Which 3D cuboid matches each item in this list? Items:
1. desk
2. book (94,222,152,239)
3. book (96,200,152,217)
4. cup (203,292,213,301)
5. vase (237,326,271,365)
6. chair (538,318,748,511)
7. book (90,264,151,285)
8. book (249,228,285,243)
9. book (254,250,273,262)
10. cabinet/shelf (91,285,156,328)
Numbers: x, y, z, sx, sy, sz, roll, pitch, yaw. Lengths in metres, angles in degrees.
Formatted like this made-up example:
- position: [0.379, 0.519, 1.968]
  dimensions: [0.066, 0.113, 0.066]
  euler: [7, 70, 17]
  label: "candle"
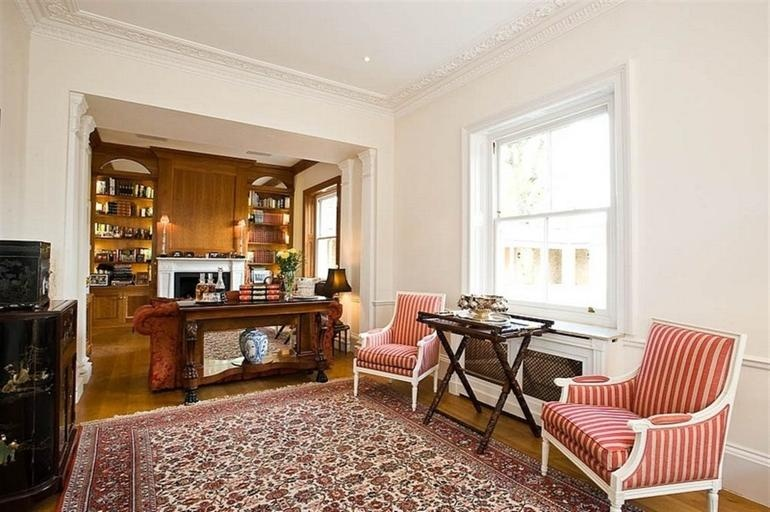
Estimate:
- position: [-1.662, 1.089, 6.408]
  dimensions: [1.938, 1.074, 0.807]
  euler: [1, 2, -38]
  label: "desk"
- position: [-5.038, -0.485, 9.794]
  dimensions: [0.992, 0.315, 0.312]
  euler: [-1, 0, -29]
  label: "book"
- position: [-5.039, -0.913, 9.842]
  dimensions: [0.961, 0.306, 0.217]
  euler: [-1, 0, -28]
  label: "book"
- position: [-2.064, 0.477, 5.942]
  dimensions: [0.125, 0.108, 0.085]
  euler: [-1, 0, -19]
  label: "cup"
- position: [-1.689, 1.115, 6.522]
  dimensions: [0.363, 0.400, 0.349]
  euler: [-1, 0, 12]
  label: "vase"
- position: [2.105, 1.278, 4.219]
  dimensions: [1.289, 1.523, 0.803]
  euler: [-1, 0, -12]
  label: "chair"
- position: [-4.988, 0.333, 9.625]
  dimensions: [0.992, 0.398, 0.514]
  euler: [-1, 0, -26]
  label: "book"
- position: [-2.568, -0.449, 11.175]
  dimensions: [0.771, 0.301, 0.325]
  euler: [-1, 0, -14]
  label: "book"
- position: [-2.627, 0.033, 11.043]
  dimensions: [0.353, 0.316, 0.256]
  euler: [1, -3, -26]
  label: "book"
- position: [-4.549, 0.867, 8.708]
  dimensions: [0.857, 0.662, 0.323]
  euler: [0, -2, -33]
  label: "cabinet/shelf"
